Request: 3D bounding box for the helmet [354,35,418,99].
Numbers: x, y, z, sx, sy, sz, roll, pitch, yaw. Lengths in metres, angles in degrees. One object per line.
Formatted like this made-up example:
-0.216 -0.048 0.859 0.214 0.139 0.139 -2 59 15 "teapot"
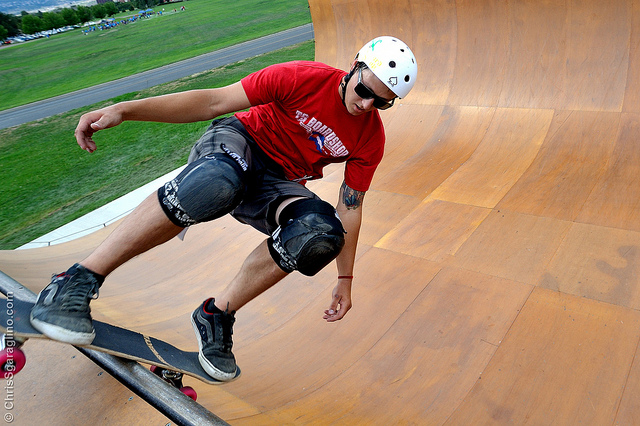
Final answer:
0.426 -1.094 3.156 0.535 0.430 0.439 21 23 13 "helmet"
